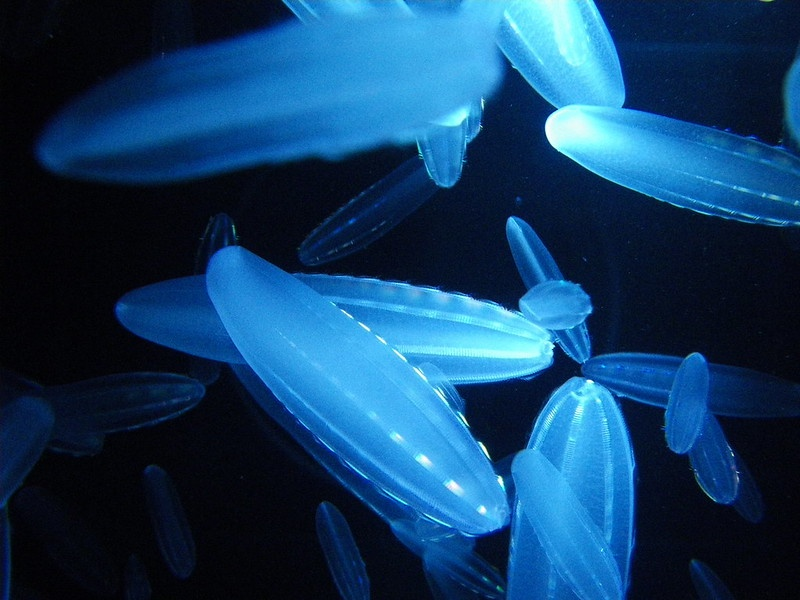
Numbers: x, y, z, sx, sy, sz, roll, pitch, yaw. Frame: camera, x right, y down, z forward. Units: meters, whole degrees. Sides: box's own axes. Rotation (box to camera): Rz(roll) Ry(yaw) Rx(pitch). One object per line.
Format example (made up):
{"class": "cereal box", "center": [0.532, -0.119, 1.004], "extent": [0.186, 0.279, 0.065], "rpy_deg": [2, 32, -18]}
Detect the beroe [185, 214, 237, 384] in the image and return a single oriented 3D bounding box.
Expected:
{"class": "beroe", "center": [-0.234, 0.004, 1.192], "extent": [0.050, 0.243, 0.056], "rpy_deg": [4, -2, 4]}

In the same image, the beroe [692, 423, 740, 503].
{"class": "beroe", "center": [0.411, 0.206, 1.211], "extent": [0.072, 0.102, 0.031], "rpy_deg": [16, -20, -27]}

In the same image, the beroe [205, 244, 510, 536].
{"class": "beroe", "center": [-0.047, 0.114, 1.184], "extent": [0.526, 0.183, 0.150], "rpy_deg": [48, -13, 2]}

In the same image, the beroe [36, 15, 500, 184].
{"class": "beroe", "center": [-0.166, -0.253, 1.141], "extent": [0.574, 0.231, 0.082], "rpy_deg": [5, -17, 5]}

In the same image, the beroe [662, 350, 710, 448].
{"class": "beroe", "center": [0.372, 0.128, 1.210], "extent": [0.059, 0.156, 0.026], "rpy_deg": [-18, -54, 42]}

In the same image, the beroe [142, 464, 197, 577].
{"class": "beroe", "center": [-0.304, 0.289, 1.217], "extent": [0.034, 0.129, 0.086], "rpy_deg": [-10, -24, 41]}

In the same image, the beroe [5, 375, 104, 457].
{"class": "beroe", "center": [-0.444, 0.152, 1.189], "extent": [0.168, 0.061, 0.048], "rpy_deg": [37, -20, -25]}

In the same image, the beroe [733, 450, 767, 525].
{"class": "beroe", "center": [0.456, 0.244, 1.229], "extent": [0.029, 0.107, 0.018], "rpy_deg": [-21, 3, 4]}
